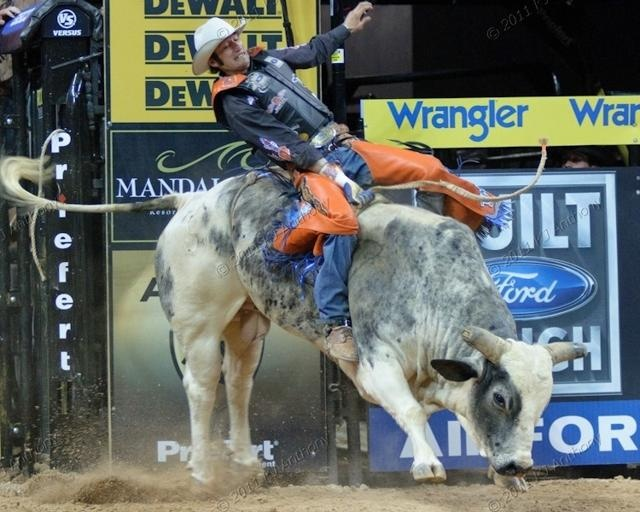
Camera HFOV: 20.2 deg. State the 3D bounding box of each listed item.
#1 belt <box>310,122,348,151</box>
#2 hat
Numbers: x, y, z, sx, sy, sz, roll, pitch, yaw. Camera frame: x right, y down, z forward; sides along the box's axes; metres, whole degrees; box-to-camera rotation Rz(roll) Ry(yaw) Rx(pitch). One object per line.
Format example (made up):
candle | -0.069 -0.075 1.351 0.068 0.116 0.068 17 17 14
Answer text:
belt | 0.074 -0.952 14.031 0.284 0.107 0.168 -28 59 -28
hat | -0.851 -1.672 13.999 0.448 0.176 0.414 -41 -5 37
